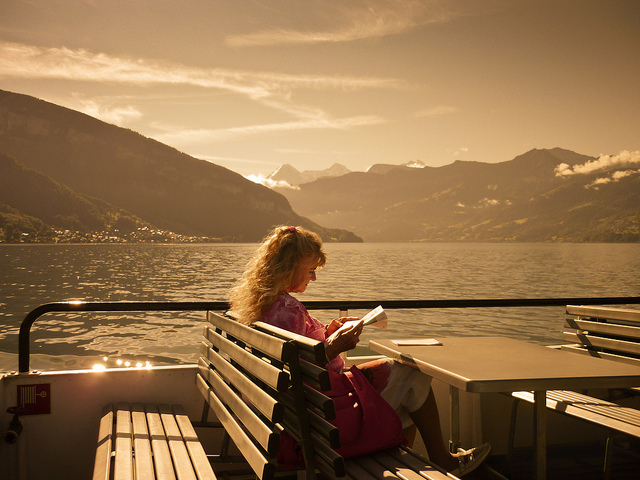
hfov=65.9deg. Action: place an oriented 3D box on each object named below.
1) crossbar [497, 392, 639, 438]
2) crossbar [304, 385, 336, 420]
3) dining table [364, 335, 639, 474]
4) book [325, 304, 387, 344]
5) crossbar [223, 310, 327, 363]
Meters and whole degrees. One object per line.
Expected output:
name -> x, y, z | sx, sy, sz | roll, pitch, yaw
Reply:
crossbar -> 1.943, 1.268, 3.560 | 0.209, 0.063, 0.690 | -1, 1, -37
crossbar -> -0.006, 0.782, 2.375 | 0.047, 0.087, 0.326 | -4, -1, -22
dining table -> 1.286, 1.171, 3.488 | 0.655, 0.603, 1.179 | 2, -4, -11
book -> 0.272, 0.515, 3.296 | 0.199, 0.213, 0.456 | -30, 14, -38
crossbar -> -0.177, 0.516, 2.518 | 0.110, 0.103, 0.718 | -1, 1, -27
